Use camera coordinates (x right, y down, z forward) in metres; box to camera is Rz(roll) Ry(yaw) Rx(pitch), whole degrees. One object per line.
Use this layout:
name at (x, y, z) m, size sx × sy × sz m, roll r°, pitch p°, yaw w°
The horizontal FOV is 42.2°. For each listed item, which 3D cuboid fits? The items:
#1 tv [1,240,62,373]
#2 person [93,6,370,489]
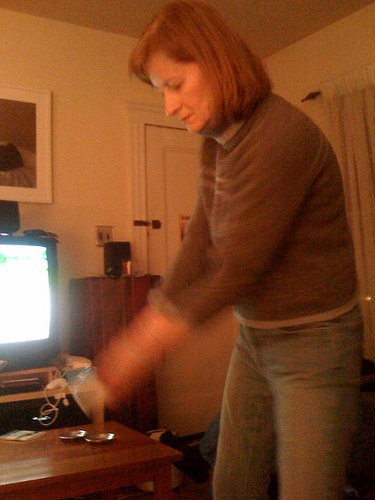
tv at (-0.726, 0.251, 2.243) m, size 0.259 × 0.593 × 0.318 m, roll -3°, pitch -4°, yaw -14°
person at (0.062, 0.029, 0.733) m, size 0.269 × 0.742 × 0.360 m, roll 0°, pitch -6°, yaw -41°
